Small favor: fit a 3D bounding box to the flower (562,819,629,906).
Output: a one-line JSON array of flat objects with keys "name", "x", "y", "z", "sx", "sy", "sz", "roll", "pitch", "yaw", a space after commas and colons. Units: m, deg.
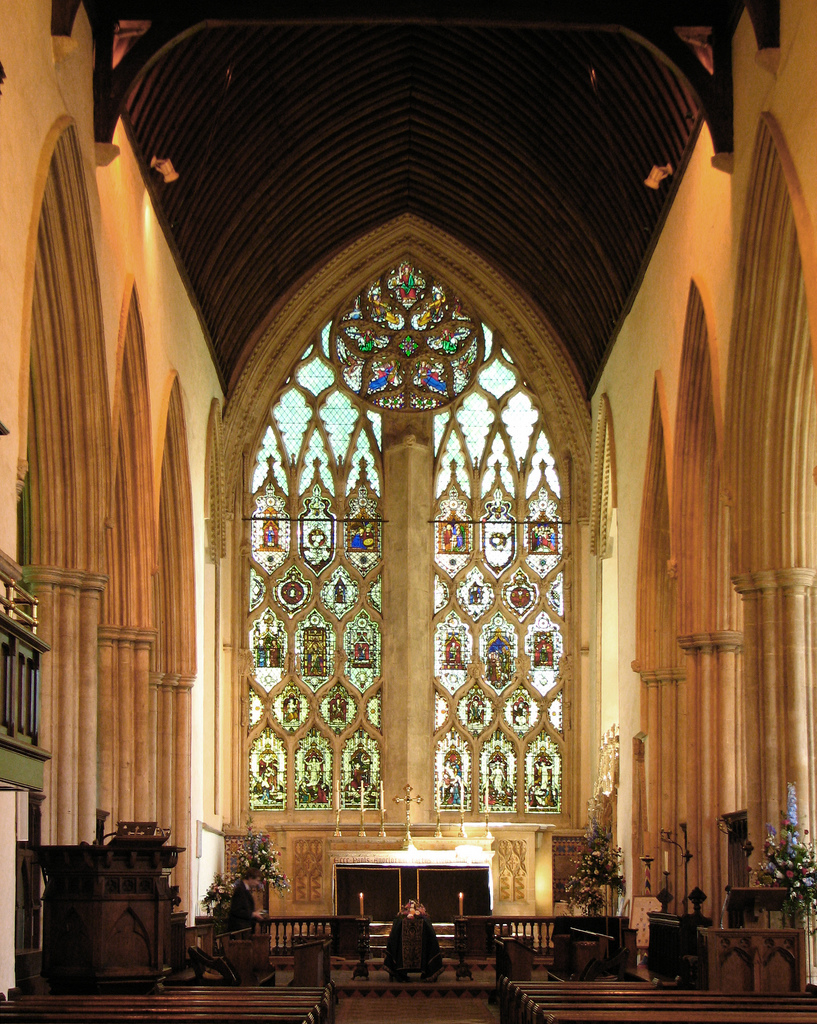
[{"name": "flower", "x": 2.370, "y": 4.554, "z": 23.403, "sx": 0.695, "sy": 1.192, "sz": 1.843, "roll": -2, "pitch": -15, "yaw": 6}]
